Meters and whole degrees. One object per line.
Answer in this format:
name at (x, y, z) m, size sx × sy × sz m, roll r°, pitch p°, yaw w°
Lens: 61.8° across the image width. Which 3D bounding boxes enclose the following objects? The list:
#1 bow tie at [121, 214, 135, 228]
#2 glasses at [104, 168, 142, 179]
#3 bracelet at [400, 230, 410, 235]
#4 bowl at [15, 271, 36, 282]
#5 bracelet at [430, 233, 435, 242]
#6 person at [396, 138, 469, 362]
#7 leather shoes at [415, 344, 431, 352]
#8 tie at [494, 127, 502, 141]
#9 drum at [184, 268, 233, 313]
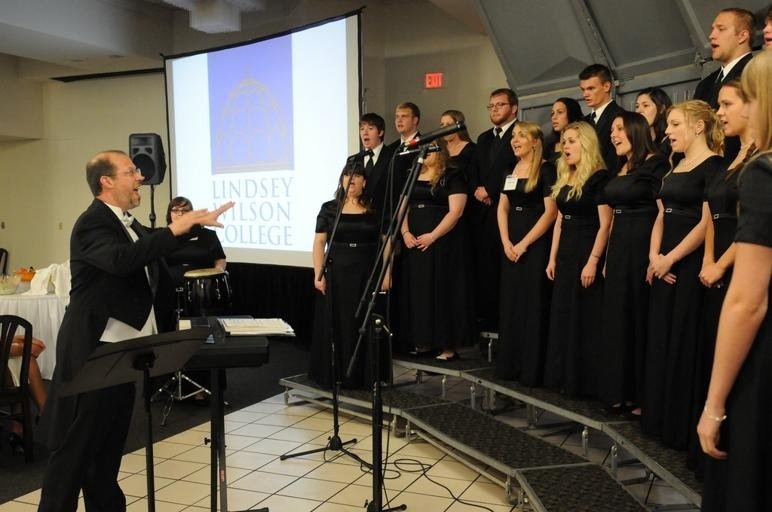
bow tie at (-1.611, -0.230, 4.023) m, size 0.026 × 0.074 × 0.075 m, roll -34°, pitch -26°, yaw 27°
glasses at (-1.614, -0.507, 3.951) m, size 0.106 × 0.032 × 0.105 m, roll -3°, pitch -1°, yaw 17°
bracelet at (0.177, -0.213, 5.904) m, size 0.044 × 0.035 × 0.046 m, roll 1°, pitch 0°, yaw 38°
bowl at (-3.937, 0.216, 7.050) m, size 0.156 × 0.066 × 0.166 m, roll 2°, pitch -1°, yaw 0°
bracelet at (0.411, -0.163, 5.748) m, size 0.078 × 0.076 × 0.020 m, roll 0°, pitch 0°, yaw 2°
person at (0.463, -0.015, 5.890) m, size 0.620 × 1.926 × 0.302 m, roll -4°, pitch 6°, yaw 5°
leather shoes at (0.343, 0.852, 5.946) m, size 0.063 × 0.074 × 0.187 m, roll 4°, pitch 0°, yaw -20°
tie at (1.071, -1.166, 6.162) m, size 0.077 × 0.109 × 0.027 m, roll -4°, pitch -11°, yaw 41°
drum at (-1.646, 0.330, 5.956) m, size 0.403 × 0.390 × 0.403 m, roll -4°, pitch 1°, yaw -8°
